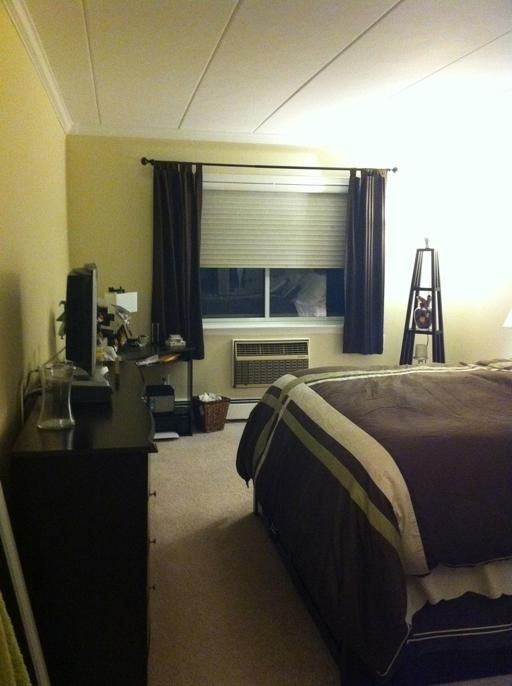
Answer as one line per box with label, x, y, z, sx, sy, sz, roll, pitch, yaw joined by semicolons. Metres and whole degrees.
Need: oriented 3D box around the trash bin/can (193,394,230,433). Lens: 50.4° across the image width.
trash bin/can;-0.380;0.580;4.515;0.220;0.285;0.319;-3;7;-29
